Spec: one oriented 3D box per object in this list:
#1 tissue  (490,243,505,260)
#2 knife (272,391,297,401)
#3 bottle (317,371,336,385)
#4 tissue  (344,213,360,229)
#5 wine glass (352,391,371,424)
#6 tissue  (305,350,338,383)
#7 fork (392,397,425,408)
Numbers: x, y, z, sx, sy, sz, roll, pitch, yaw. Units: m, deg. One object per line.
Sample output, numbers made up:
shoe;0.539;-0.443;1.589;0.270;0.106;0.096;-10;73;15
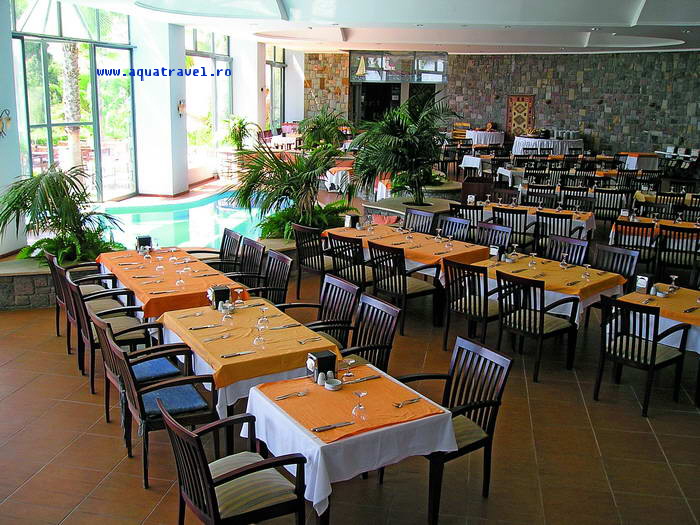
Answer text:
tissue ;1.735;-0.135;6.067;0.177;0.165;0.178;6;16;31
knife;-0.389;0.804;3.111;0.040;0.038;0.165;4;11;27
bottle;-0.161;0.726;3.251;0.094;0.059;0.091;-1;0;0
tissue ;0.026;-0.586;7.262;0.192;0.162;0.199;9;12;29
wine glass;0.066;0.837;2.969;0.118;0.166;0.115;1;7;10
tissue ;-0.182;0.642;3.276;0.198;0.186;0.185;-1;5;-30
fork;0.346;0.804;3.076;0.230;0.038;0.053;-8;18;-43
